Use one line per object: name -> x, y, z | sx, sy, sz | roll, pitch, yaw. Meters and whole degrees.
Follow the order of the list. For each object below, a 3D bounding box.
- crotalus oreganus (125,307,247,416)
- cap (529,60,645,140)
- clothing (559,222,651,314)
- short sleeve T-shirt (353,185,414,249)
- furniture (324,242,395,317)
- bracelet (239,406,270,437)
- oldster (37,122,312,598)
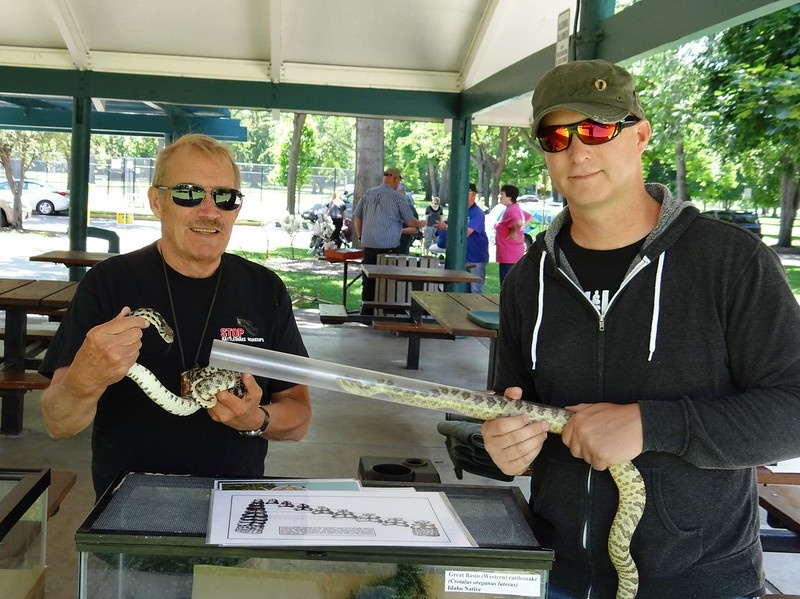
crotalus oreganus -> -0.675, 0.295, 2.200 | 0.384, 0.215, 0.069 | 24, 3, -41
cap -> 0.648, -0.720, 2.268 | 0.417, 0.233, 0.523 | 1, 12, 17
clothing -> 0.693, -0.100, 2.228 | 0.219, 0.261, 0.103 | 0, -17, 18
short sleeve T-shirt -> -0.265, -1.491, 11.583 | 0.976, 1.157, 0.413 | 4, 10, -5
furniture -> -0.764, -0.369, 11.603 | 1.399, 1.087, 1.271 | 0, 5, -5
bracelet -> -0.569, 0.485, 2.549 | 0.094, 0.143, 0.103 | 5, 10, 1
oldster -> -0.818, 0.208, 2.706 | 0.966, 1.608, 1.259 | -7, -7, 40
